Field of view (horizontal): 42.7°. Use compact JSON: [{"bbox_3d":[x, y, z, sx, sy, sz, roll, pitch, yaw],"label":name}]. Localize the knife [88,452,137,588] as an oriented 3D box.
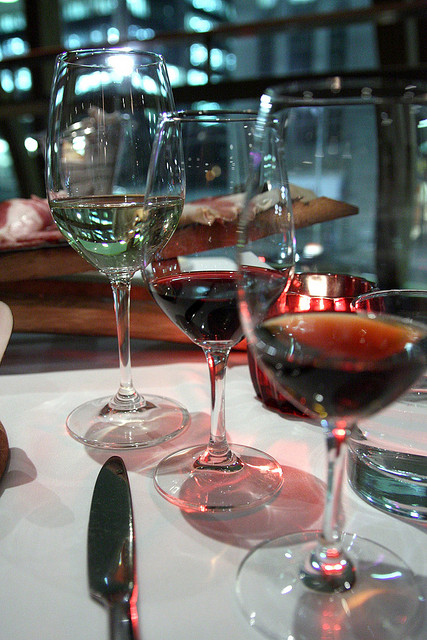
[{"bbox_3d":[-0.060,0.113,0.317,0.028,0.008,0.158,18,4,-13],"label":"knife"}]
